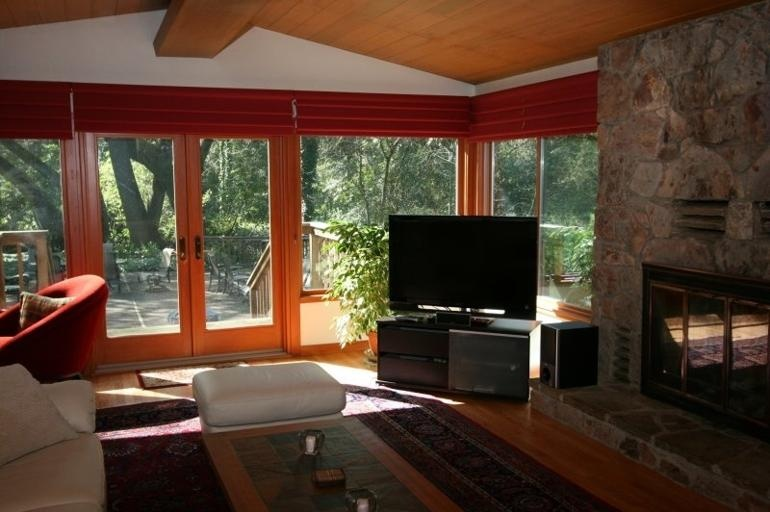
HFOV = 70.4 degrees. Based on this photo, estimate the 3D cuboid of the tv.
[{"bbox_3d":[0.662,0.067,4.833,1.394,0.844,0.135,2,2,30],"label":"tv"}]
